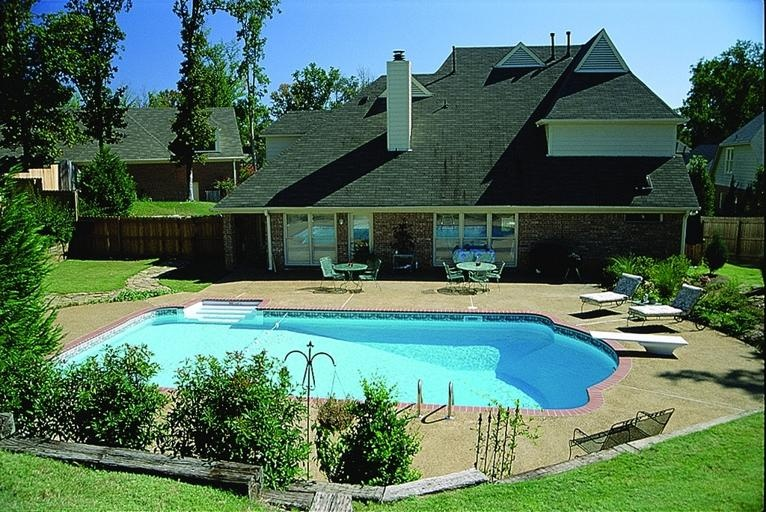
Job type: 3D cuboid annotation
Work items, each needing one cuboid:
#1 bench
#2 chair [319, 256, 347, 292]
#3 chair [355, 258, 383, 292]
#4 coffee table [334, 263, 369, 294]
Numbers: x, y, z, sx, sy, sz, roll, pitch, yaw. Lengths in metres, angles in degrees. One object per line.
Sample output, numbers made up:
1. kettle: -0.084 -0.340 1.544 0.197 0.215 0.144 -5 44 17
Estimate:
1. bench: 6.324 5.151 19.325 2.079 1.145 1.308 9 -18 -34
2. chair: -2.138 0.750 31.563 0.964 1.353 1.019 2 9 26
3. chair: -0.591 0.865 32.425 1.130 1.492 1.055 -6 15 -18
4. coffee table: -1.431 0.943 32.330 1.370 0.873 1.349 -2 6 -13
